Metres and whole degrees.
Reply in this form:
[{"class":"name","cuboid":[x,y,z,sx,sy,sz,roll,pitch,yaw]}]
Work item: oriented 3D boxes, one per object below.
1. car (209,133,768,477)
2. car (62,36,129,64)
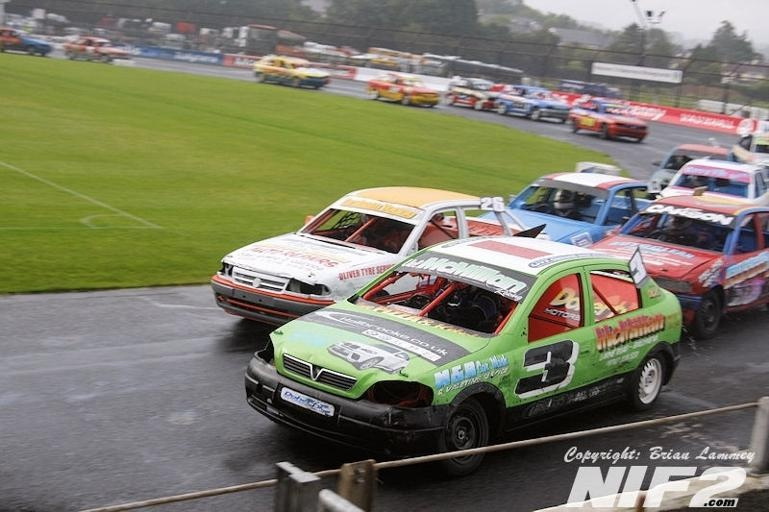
[{"class":"car","cuboid":[1.171,0.850,7.432,4.708,1.971,2.233,-6,21,-38]},{"class":"car","cuboid":[-14.816,-11.363,36.382,4.390,0.765,2.310,-5,15,-31]}]
